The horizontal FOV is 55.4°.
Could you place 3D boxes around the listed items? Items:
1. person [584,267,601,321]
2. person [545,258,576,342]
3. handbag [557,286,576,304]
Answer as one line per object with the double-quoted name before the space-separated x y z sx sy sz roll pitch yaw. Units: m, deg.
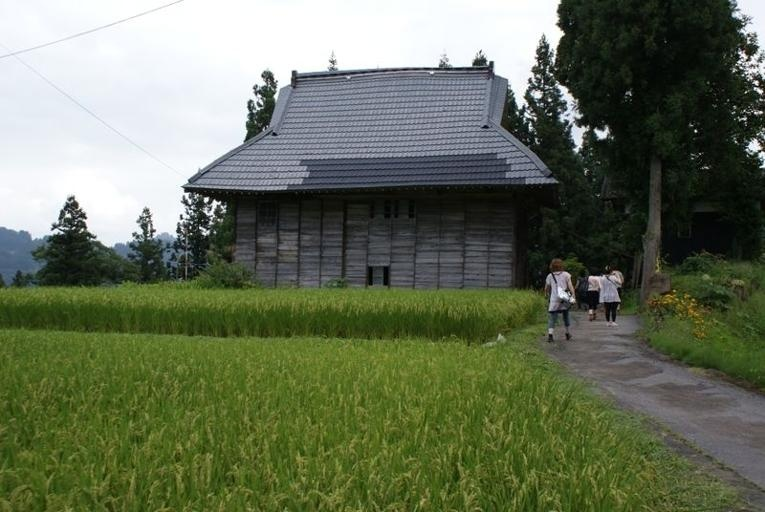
"person" 6.832 1.325 23.769 0.384 1.454 2.787 4 5 16
"person" 4.220 1.000 17.603 0.981 1.952 0.879 2 -6 -29
"handbag" 4.335 0.933 17.215 0.387 0.169 0.349 30 -7 -26
